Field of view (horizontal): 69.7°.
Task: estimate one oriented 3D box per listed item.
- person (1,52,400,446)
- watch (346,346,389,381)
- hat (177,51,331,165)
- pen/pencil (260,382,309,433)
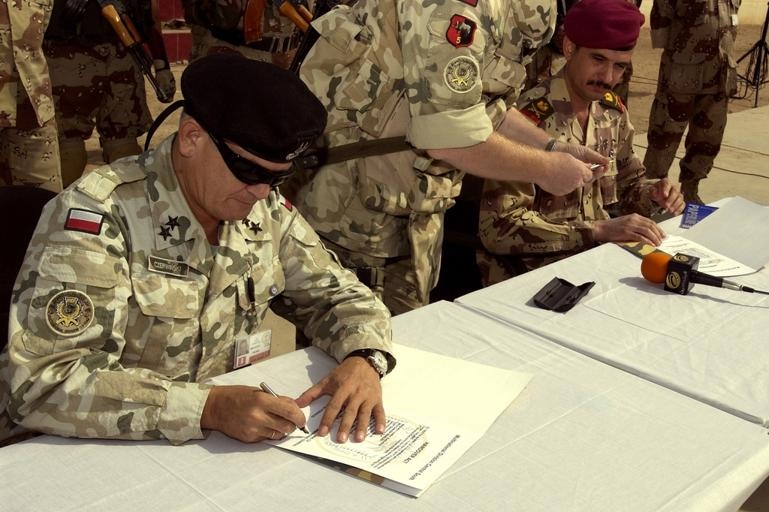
[{"bbox_3d":[-0.528,-0.014,1.743,0.960,1.217,0.899,33,31,14],"label":"person"},{"bbox_3d":[-0.047,0.302,1.669,0.111,0.112,0.082,6,37,2],"label":"watch"},{"bbox_3d":[-0.358,-0.425,1.512,0.340,0.136,0.304,34,48,7],"label":"hat"},{"bbox_3d":[-0.267,0.404,1.465,0.161,0.022,0.020,45,37,-12],"label":"pen/pencil"}]
